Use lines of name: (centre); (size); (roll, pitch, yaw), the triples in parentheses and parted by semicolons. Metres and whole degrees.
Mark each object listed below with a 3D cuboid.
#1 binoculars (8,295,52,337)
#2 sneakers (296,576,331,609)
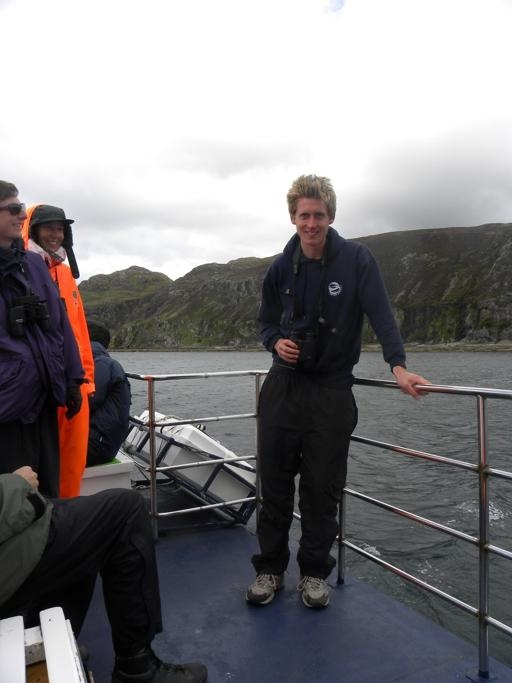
binoculars: (-1.026, -0.113, 2.335); (0.181, 0.172, 0.070); (-8, 5, -39)
sneakers: (0.331, 1.397, 2.919); (0.110, 0.092, 0.207); (2, -20, -1)
